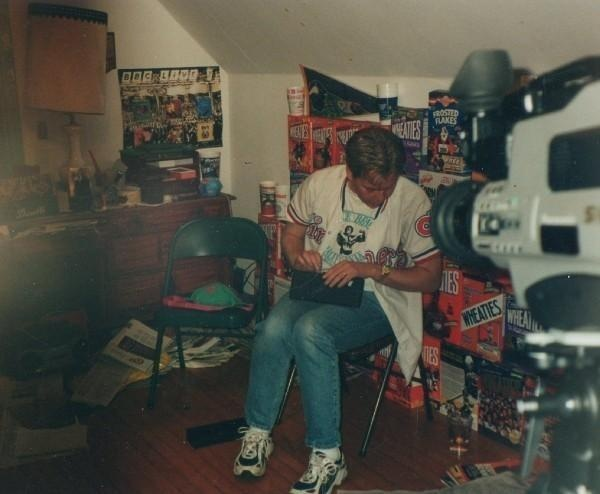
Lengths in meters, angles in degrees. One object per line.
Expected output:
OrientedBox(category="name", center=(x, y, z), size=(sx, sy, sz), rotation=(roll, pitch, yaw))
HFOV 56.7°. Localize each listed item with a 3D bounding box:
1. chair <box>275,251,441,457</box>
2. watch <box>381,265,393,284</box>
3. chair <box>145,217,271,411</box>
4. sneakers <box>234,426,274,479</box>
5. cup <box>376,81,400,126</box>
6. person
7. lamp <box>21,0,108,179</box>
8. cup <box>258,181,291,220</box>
OrientedBox(category="chair", center=(0.185, 0.558, 2.465), size=(0.494, 0.702, 0.519), rotation=(17, -28, -3))
OrientedBox(category="watch", center=(0.330, 0.103, 2.115), size=(0.064, 0.062, 0.041), rotation=(-13, 18, -37))
OrientedBox(category="chair", center=(-0.414, 0.290, 2.645), size=(0.518, 0.822, 0.545), rotation=(2, 11, 6))
OrientedBox(category="sneakers", center=(-0.176, 0.771, 2.087), size=(0.099, 0.098, 0.210), rotation=(4, 11, 6))
OrientedBox(category="cup", center=(0.399, -0.657, 2.593), size=(0.086, 0.194, 0.162), rotation=(-5, 13, -24))
OrientedBox(category="person", center=(0.125, 0.185, 2.183), size=(0.642, 1.287, 0.832), rotation=(11, 16, 43))
OrientedBox(category="lamp", center=(-1.304, -0.901, 3.136), size=(0.456, 0.871, 0.220), rotation=(-4, 13, -23))
OrientedBox(category="cup", center=(-0.165, -0.280, 3.223), size=(0.196, 0.221, 0.197), rotation=(2, 10, 0))
